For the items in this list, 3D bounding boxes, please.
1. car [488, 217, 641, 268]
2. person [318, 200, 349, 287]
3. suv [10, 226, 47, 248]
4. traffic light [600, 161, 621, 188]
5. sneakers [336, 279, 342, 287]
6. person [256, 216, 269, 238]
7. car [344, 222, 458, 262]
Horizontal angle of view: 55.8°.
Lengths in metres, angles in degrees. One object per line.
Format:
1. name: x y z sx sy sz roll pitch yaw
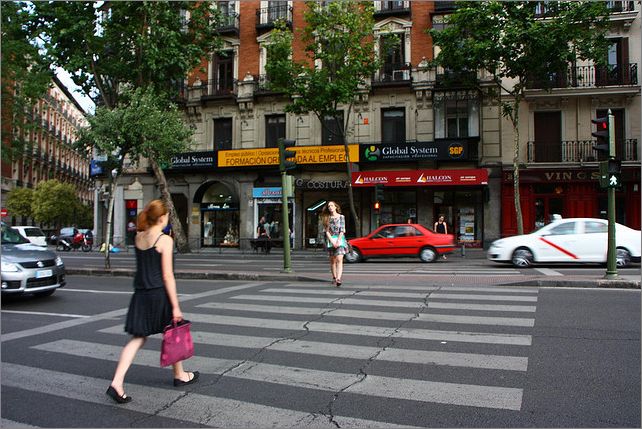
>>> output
1. car: 9.107 1.160 23.615 4.743 1.832 2.107 1 -4 12
2. person: 0.411 0.946 20.273 0.844 2.806 1.359 -1 2 1
3. suv: -13.444 1.004 28.280 1.350 1.193 2.287 0 4 -37
4. traffic light: 9.210 -1.371 19.730 0.576 0.950 0.308 0 2 21
5. sneakers: 0.517 2.260 19.901 0.165 0.204 0.462 -1 -9 3
6. person: -3.383 0.740 34.713 0.596 1.171 1.617 -1 2 -5
7. car: 3.501 1.327 27.303 4.235 1.498 1.985 1 -3 8
